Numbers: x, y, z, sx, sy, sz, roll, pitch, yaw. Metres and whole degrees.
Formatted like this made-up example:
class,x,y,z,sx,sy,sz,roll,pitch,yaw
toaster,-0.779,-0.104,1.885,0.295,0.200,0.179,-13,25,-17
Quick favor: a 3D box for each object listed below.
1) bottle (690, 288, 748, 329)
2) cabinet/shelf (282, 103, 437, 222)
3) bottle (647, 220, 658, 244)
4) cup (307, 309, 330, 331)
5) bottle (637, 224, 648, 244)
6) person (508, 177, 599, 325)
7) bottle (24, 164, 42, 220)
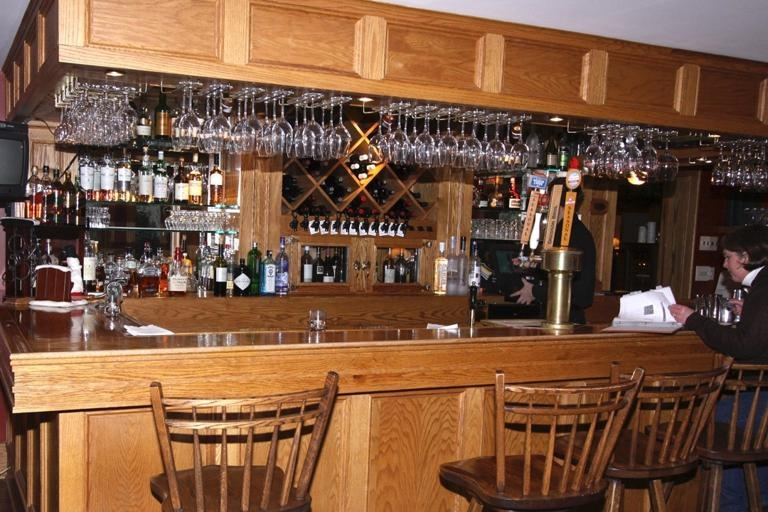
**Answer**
class,x,y,z,sx,sy,sz,roll,pitch,yaw
bottle,2.191,0.364,4.435,0.413,0.354,0.216,-1,0,7
cabinet/shelf,-0.249,-0.752,5.233,1.190,0.960,0.330,1,-1,-17
bottle,3.197,-0.283,7.935,0.076,0.271,0.306,1,0,32
cup,-0.386,0.371,3.872,0.089,0.118,0.194,1,0,-9
bottle,3.048,-0.270,7.859,0.091,0.207,0.074,0,1,-30
person,1.315,0.015,5.338,0.710,1.102,2.438,1,0,15
bottle,-2.749,-0.503,5.250,0.096,0.432,0.180,0,1,-42
